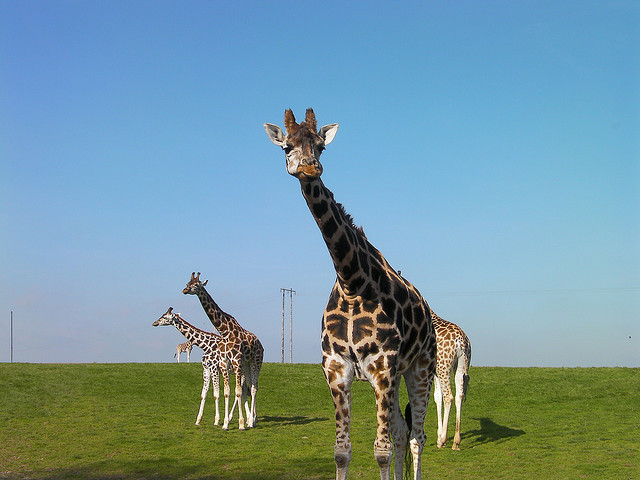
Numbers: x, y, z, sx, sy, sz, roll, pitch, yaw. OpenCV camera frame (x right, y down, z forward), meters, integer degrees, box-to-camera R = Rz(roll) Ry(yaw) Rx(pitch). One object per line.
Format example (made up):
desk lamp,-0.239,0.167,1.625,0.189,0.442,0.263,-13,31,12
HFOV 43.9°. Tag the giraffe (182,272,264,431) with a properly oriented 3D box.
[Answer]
giraffe,-3.517,4.240,30.573,2.513,6.004,1.994,0,-10,-5

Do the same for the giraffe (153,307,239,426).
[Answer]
giraffe,-5.260,5.278,32.488,2.834,4.562,5.719,4,-12,-23

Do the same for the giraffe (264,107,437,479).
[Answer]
giraffe,1.116,1.613,19.880,1.626,8.939,4.912,-8,-13,36
